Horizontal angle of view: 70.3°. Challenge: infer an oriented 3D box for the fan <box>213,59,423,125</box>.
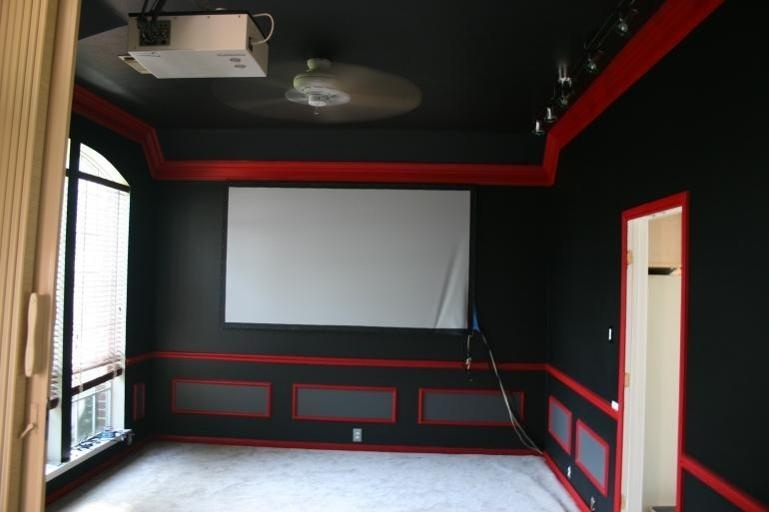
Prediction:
[{"bbox_3d":[-0.516,-1.301,4.816,1.326,0.332,1.221,1,-3,0],"label":"fan"}]
